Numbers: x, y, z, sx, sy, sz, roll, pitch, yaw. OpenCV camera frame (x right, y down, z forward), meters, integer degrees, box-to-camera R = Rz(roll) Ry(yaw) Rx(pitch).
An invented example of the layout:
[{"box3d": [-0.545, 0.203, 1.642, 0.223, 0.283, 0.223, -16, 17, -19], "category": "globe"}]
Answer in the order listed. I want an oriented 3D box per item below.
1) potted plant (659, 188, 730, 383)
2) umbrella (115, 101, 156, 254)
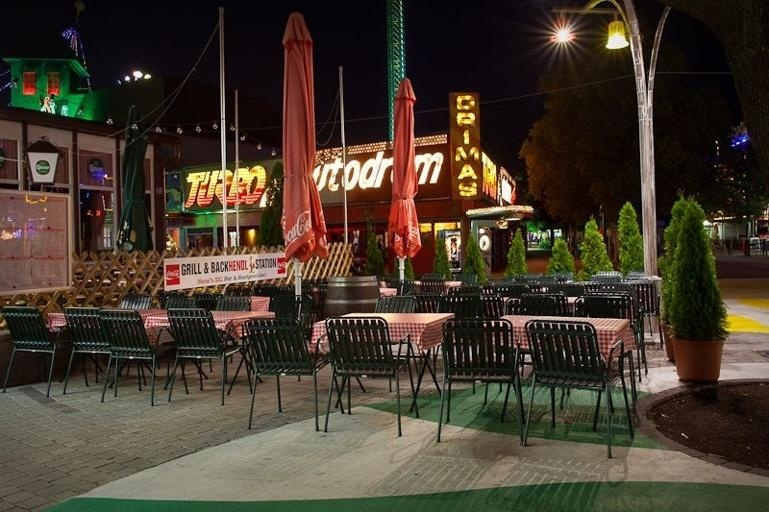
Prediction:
[{"box3d": [4.938, 0.505, 9.761, 0.751, 2.812, 1.316, 0, 7, 16], "category": "potted plant"}, {"box3d": [-6.029, -1.831, 14.556, 0.756, 3.456, 1.395, -4, 7, -21], "category": "umbrella"}]
